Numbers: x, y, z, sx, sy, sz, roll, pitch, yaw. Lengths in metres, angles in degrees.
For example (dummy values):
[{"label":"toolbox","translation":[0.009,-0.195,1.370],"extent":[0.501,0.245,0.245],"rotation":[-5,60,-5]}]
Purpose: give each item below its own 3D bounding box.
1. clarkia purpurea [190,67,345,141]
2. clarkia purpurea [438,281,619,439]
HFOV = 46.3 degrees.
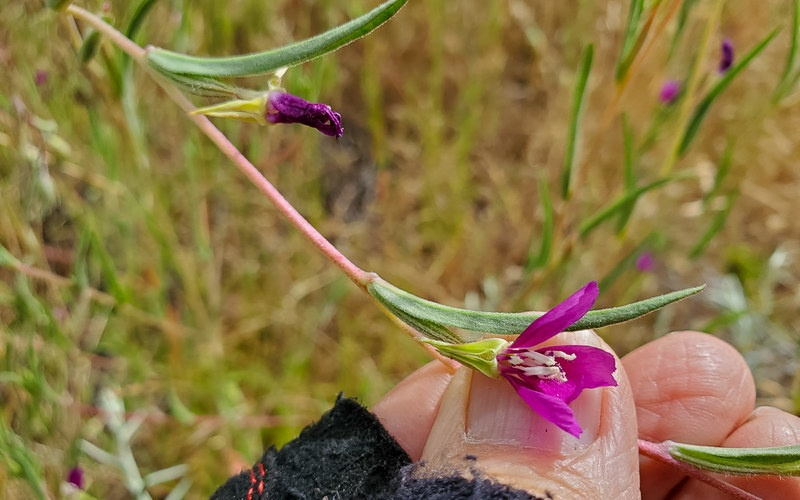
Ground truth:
[{"label":"clarkia purpurea","translation":[-0.340,-0.386,2.582],"extent":[0.241,0.257,0.127],"rotation":[23,102,-5]},{"label":"clarkia purpurea","translation":[0.344,0.335,2.470],"extent":[0.462,0.222,0.292],"rotation":[-17,54,1]}]
